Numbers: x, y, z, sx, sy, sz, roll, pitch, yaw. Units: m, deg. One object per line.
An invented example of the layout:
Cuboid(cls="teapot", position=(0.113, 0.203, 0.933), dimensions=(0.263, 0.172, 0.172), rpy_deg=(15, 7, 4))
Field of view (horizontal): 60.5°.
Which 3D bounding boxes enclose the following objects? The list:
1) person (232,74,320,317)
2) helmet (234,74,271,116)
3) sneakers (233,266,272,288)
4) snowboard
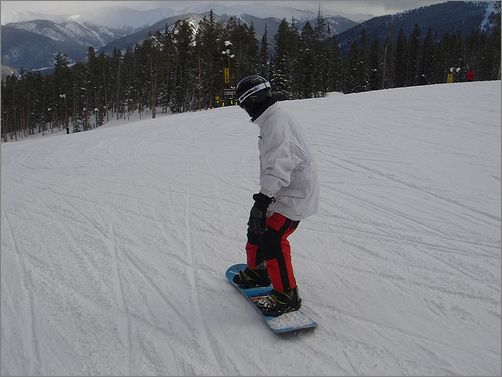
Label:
Cuboid(cls="person", position=(0.255, 0.100, 5.198), dimensions=(0.866, 2.807, 0.841), rpy_deg=(10, 20, 38))
Cuboid(cls="helmet", position=(0.025, -1.178, 5.297), dimensions=(0.481, 0.456, 0.419), rpy_deg=(-13, 13, 14))
Cuboid(cls="sneakers", position=(0.034, 1.159, 5.747), dimensions=(0.553, 0.262, 0.205), rpy_deg=(3, 12, 7))
Cuboid(cls="snowboard", position=(0.188, 1.389, 5.438), dimensions=(0.451, 0.232, 1.536), rpy_deg=(-14, 30, -26))
